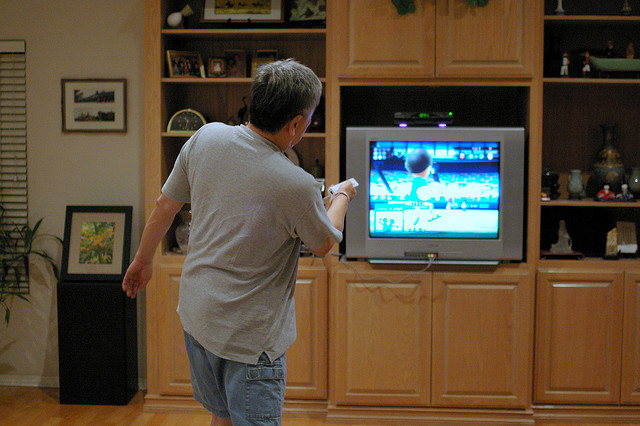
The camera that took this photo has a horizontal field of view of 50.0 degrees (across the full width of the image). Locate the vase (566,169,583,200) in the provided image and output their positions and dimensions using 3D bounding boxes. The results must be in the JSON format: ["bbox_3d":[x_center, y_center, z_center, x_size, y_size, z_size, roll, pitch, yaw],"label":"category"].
[{"bbox_3d":[1.986,-0.225,5.341,0.103,0.231,0.209,2,4,37],"label":"vase"}]

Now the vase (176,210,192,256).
[{"bbox_3d":[-1.046,0.159,5.383,0.121,0.325,0.131,4,-1,-19],"label":"vase"}]

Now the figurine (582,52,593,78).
[{"bbox_3d":[2.042,-1.130,5.240,0.069,0.196,0.109,1,3,22],"label":"figurine"}]

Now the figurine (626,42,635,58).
[{"bbox_3d":[2.423,-1.278,5.371,0.055,0.142,0.184,1,4,24],"label":"figurine"}]

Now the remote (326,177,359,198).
[{"bbox_3d":[0.144,-0.156,4.167,0.162,0.042,0.099,-22,0,-18],"label":"remote"}]

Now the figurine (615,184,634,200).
[{"bbox_3d":[2.341,-0.160,5.276,0.096,0.104,0.054,2,-13,10],"label":"figurine"}]

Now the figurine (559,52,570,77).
[{"bbox_3d":[1.893,-1.154,5.330,0.069,0.220,0.271,1,3,20],"label":"figurine"}]

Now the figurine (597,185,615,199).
[{"bbox_3d":[2.199,-0.166,5.286,0.121,0.105,0.146,1,4,24],"label":"figurine"}]

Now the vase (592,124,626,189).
[{"bbox_3d":[2.254,-0.442,5.359,0.232,0.500,0.149,1,3,11],"label":"vase"}]

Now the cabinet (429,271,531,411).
[{"bbox_3d":[1.238,0.861,5.459,0.796,1.294,0.657,0,16,8],"label":"cabinet"}]
